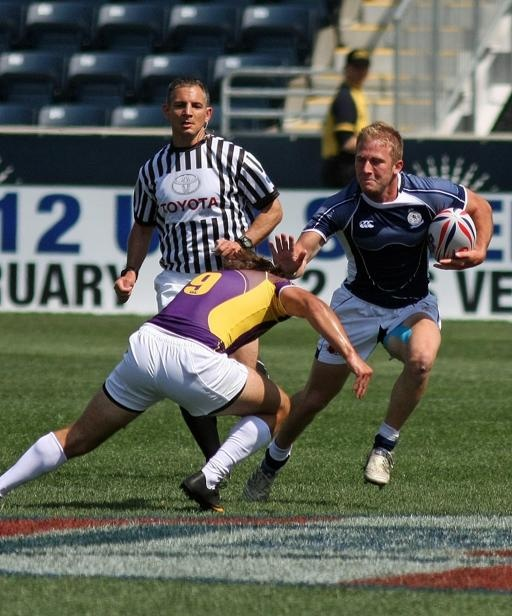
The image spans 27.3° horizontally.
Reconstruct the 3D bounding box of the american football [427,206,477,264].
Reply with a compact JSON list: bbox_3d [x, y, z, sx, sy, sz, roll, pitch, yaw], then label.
[{"bbox_3d":[0.825,-0.304,4.471,0.176,0.189,0.162,31,-26,2],"label":"american football"}]

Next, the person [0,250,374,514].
[{"bbox_3d":[-0.173,0.243,4.145,1.357,0.855,1.022,10,-7,31],"label":"person"}]

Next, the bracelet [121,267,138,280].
[{"bbox_3d":[-0.554,-0.147,4.572,0.054,0.039,0.055,-3,-25,-3],"label":"bracelet"}]

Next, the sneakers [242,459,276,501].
[{"bbox_3d":[0.007,0.708,4.329,0.083,0.064,0.175,-31,15,33],"label":"sneakers"}]
